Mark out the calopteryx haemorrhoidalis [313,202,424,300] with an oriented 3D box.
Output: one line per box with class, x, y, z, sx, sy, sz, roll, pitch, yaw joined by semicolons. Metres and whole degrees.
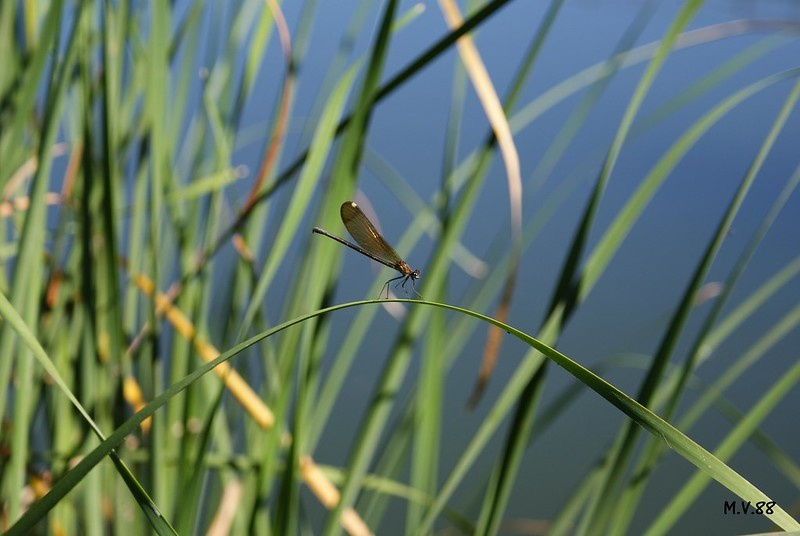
calopteryx haemorrhoidalis;-0.044;-0.055;1.956;0.243;0.122;0.174;25;-73;21
